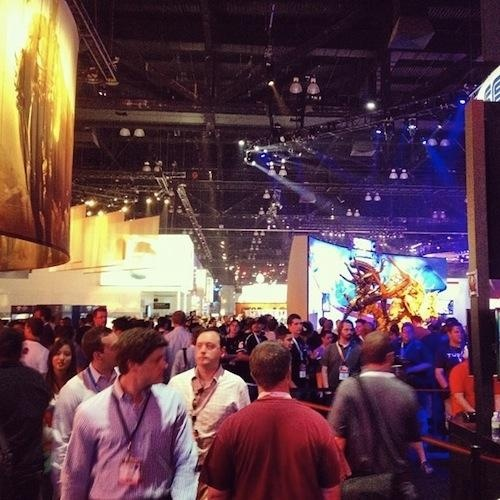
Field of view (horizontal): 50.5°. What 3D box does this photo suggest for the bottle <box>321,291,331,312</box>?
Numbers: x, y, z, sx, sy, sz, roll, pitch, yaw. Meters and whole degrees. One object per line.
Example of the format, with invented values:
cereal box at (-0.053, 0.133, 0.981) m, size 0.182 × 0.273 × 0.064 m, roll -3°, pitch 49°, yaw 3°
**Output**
bottle at (1.706, 1.202, 12.114) m, size 0.051 × 0.503 × 0.418 m, roll -8°, pitch -12°, yaw 35°
